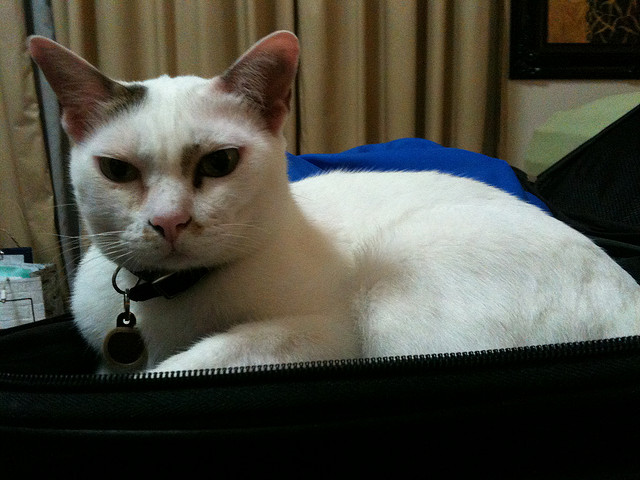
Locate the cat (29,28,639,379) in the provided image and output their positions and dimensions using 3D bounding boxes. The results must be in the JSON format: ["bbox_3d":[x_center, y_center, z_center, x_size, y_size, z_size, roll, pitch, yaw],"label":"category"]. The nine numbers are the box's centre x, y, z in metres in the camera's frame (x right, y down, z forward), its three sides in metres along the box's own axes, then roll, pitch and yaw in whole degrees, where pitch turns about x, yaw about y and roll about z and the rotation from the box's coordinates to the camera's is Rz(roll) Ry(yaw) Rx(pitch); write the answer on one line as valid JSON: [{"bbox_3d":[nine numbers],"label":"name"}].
[{"bbox_3d":[-0.004,0.008,1.265,0.695,0.496,0.861,-15,-18,34],"label":"cat"}]
